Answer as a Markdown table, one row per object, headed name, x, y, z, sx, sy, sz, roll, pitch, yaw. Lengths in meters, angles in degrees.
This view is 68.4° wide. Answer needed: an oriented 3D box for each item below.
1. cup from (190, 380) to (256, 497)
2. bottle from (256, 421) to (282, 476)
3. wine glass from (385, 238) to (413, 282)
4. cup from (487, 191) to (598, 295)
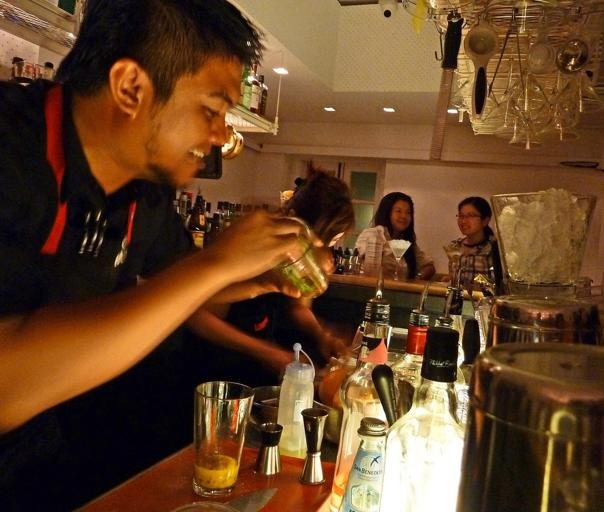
| name | x | y | z | sx | sy | sz | roll | pitch | yaw |
| --- | --- | --- | --- | --- | --- | --- | --- | --- | --- |
| cup | -0.165 | 0.357 | 0.884 | 0.115 | 0.210 | 0.185 | 7 | 0 | -5 |
| bottle | -0.062 | 0.390 | 0.903 | 0.050 | 0.102 | 0.093 | 7 | 0 | 0 |
| wine glass | 0.925 | 0.047 | 4.093 | 0.318 | 0.453 | 0.360 | 1 | -5 | 5 |
| cup | 0.476 | -0.019 | 0.905 | 0.177 | 0.197 | 0.173 | 0 | -2 | 0 |
